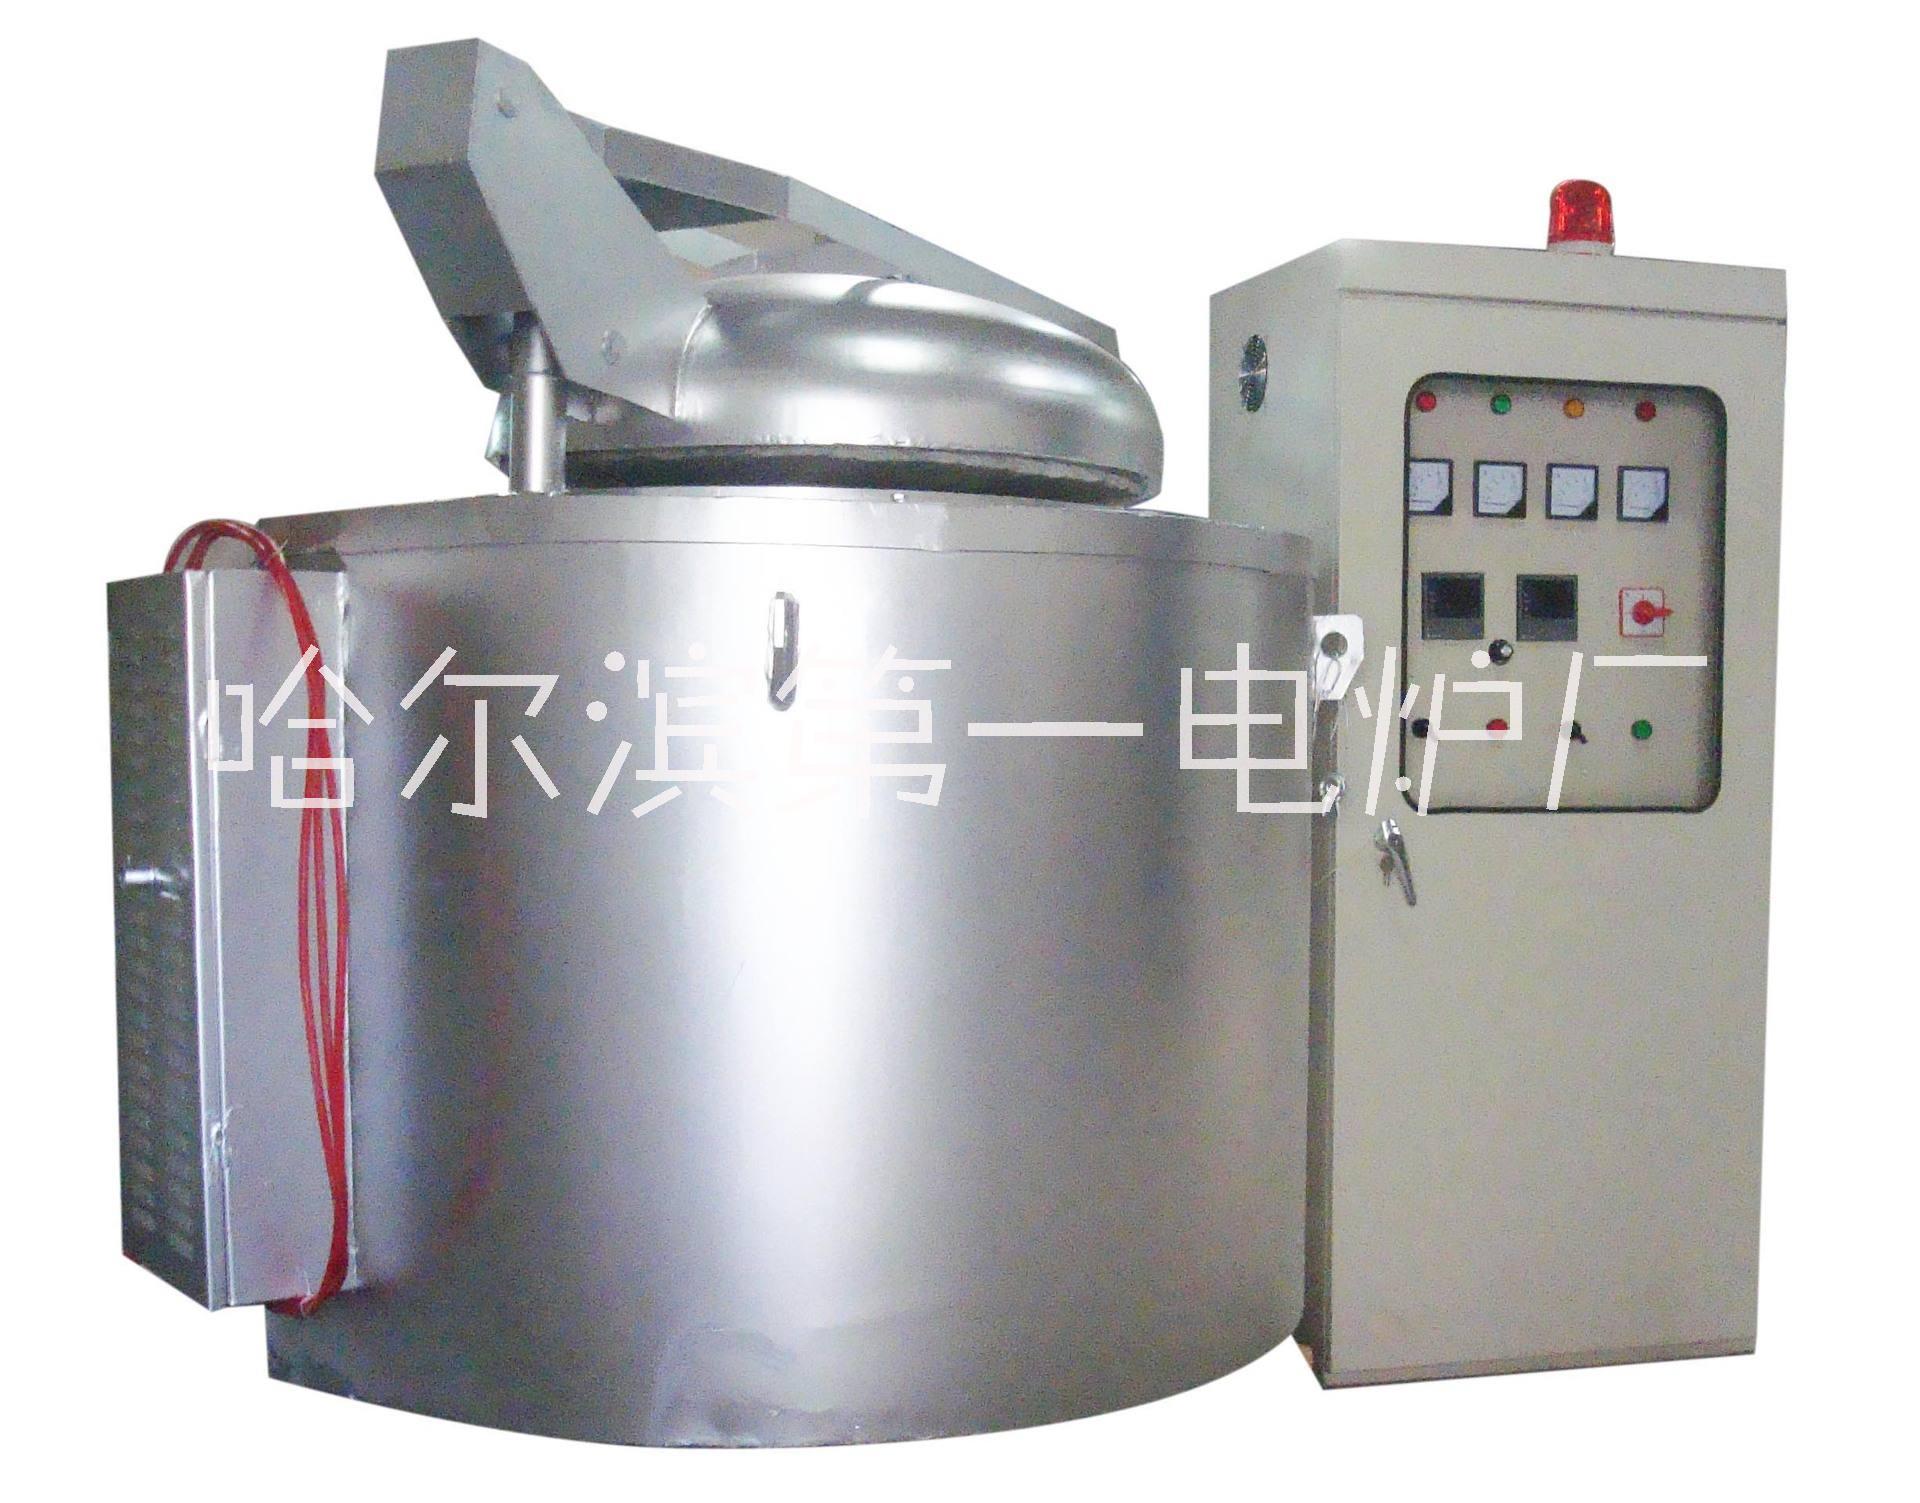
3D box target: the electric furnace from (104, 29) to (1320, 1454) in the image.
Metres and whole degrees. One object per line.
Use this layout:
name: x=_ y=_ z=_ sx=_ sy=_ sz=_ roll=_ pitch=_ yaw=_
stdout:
electric furnace: x=-0.599 y=-0.330 z=4.595 sx=1.966 sy=2.248 sz=2.202 roll=8 pitch=21 yaw=11
